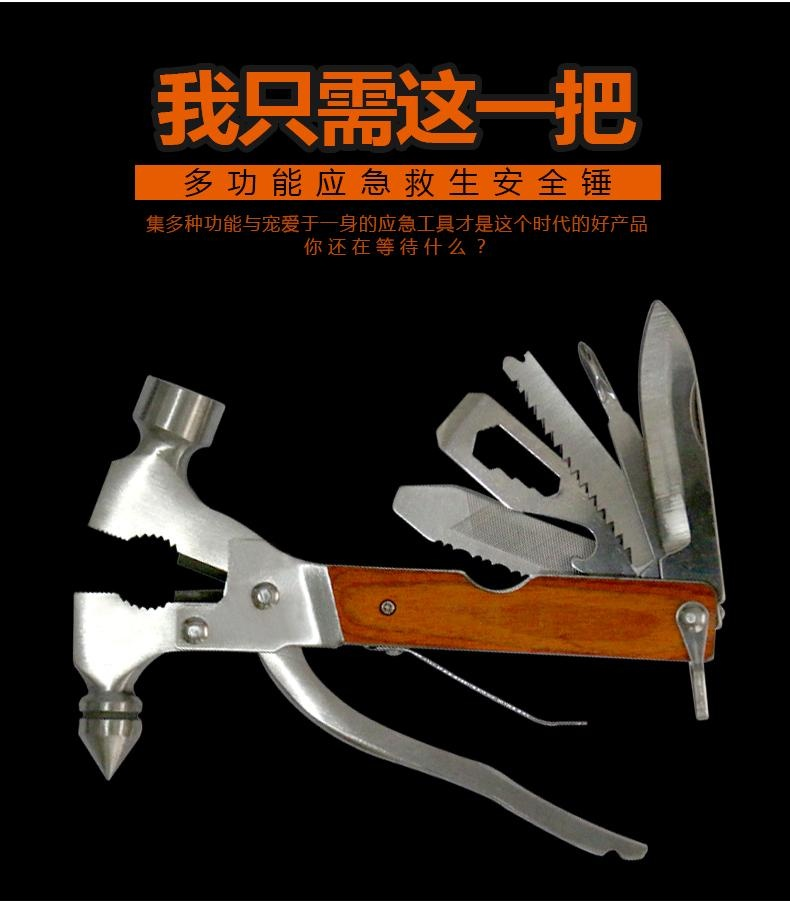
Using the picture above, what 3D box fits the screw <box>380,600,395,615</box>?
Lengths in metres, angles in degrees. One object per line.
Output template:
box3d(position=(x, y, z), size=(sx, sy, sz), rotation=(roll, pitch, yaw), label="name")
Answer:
box3d(position=(-0.020, 0.380, 2.634), size=(0.040, 0.007, 0.033), rotation=(0, 86, -7), label="screw")

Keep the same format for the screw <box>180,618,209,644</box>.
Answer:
box3d(position=(-0.486, 0.436, 2.626), size=(0.064, 0.009, 0.063), rotation=(-4, 80, 5), label="screw")

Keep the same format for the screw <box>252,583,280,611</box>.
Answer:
box3d(position=(-0.317, 0.356, 2.631), size=(0.077, 0.017, 0.063), rotation=(-2, 94, -13), label="screw")
